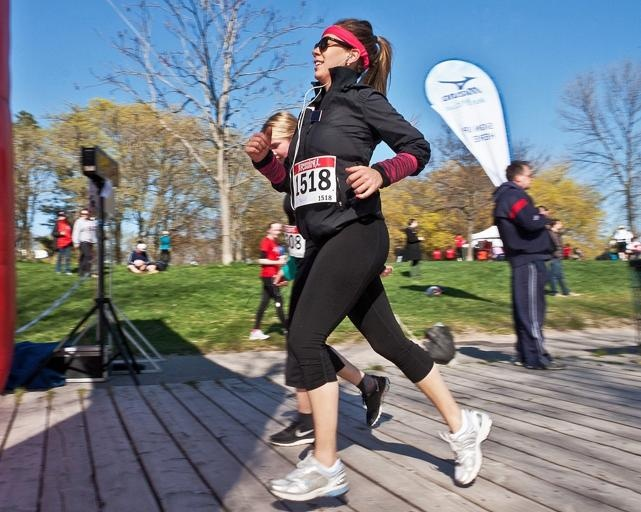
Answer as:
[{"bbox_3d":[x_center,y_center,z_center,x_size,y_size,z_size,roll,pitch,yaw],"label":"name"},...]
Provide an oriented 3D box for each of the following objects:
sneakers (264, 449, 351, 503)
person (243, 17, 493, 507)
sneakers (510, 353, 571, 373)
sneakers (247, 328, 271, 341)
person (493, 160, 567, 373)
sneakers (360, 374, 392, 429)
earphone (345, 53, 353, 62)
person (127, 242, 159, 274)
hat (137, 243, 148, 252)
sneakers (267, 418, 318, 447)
[{"bbox_3d":[-0.047,1.012,2.245,0.351,0.190,0.089,1,-2,-23],"label":"sneakers"},{"bbox_3d":[0.104,-0.052,2.569,0.918,2.524,0.932,2,-3,-40],"label":"person"},{"bbox_3d":[2.462,1.198,5.549,0.592,0.182,0.191,-6,-12,30],"label":"sneakers"},{"bbox_3d":[-1.024,1.290,8.042,0.393,0.123,0.150,-3,-3,18],"label":"sneakers"},{"bbox_3d":[2.324,0.059,5.588,0.662,2.386,0.466,0,-3,14],"label":"person"},{"bbox_3d":[0.357,0.931,3.243,0.251,0.358,0.150,14,-18,-6],"label":"sneakers"},{"bbox_3d":[0.154,-1.069,2.646,0.040,0.039,0.015,22,10,13],"label":"earphone"},{"bbox_3d":[-6.122,0.054,16.935,1.036,0.697,1.343,-8,27,-39],"label":"person"},{"bbox_3d":[-6.241,-0.303,17.114,0.506,0.219,0.587,10,-3,-16],"label":"hat"},{"bbox_3d":[-0.246,1.136,3.188,0.470,0.146,0.133,-1,-2,-9],"label":"sneakers"}]
